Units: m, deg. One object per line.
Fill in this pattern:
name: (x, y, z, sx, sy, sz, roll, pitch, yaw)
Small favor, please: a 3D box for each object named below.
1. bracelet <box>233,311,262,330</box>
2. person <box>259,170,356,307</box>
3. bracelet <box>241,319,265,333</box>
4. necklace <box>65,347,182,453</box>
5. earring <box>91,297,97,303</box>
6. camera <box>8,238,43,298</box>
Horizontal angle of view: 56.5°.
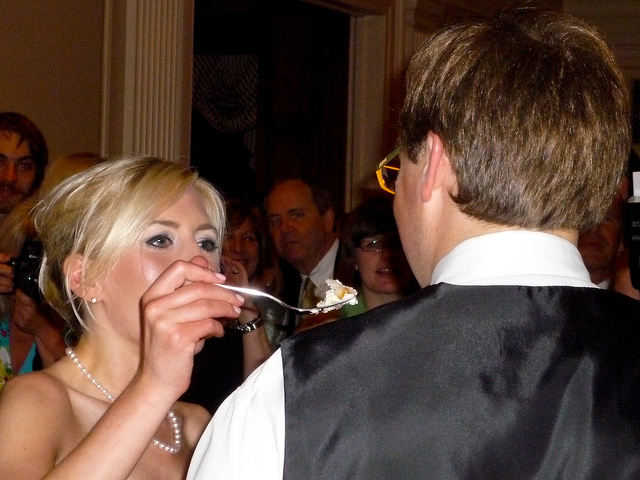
bracelet: (-0.383, 0.440, 3.115, 0.144, 0.098, 0.090, -5, 17, -10)
person: (-0.114, 0.037, 4.314, 0.657, 1.046, 0.583, -12, -7, 31)
bracelet: (-0.355, 0.459, 3.119, 0.077, 0.025, 0.079, -23, -1, -3)
necklace: (-0.615, 0.525, 1.896, 0.049, 0.425, 0.289, -37, 10, 12)
earring: (-0.683, 0.184, 1.803, 0.019, 0.018, 0.006, 5, 18, 21)
camera: (-1.153, 0.118, 2.341, 0.096, 0.245, 0.248, 1, 29, -20)
